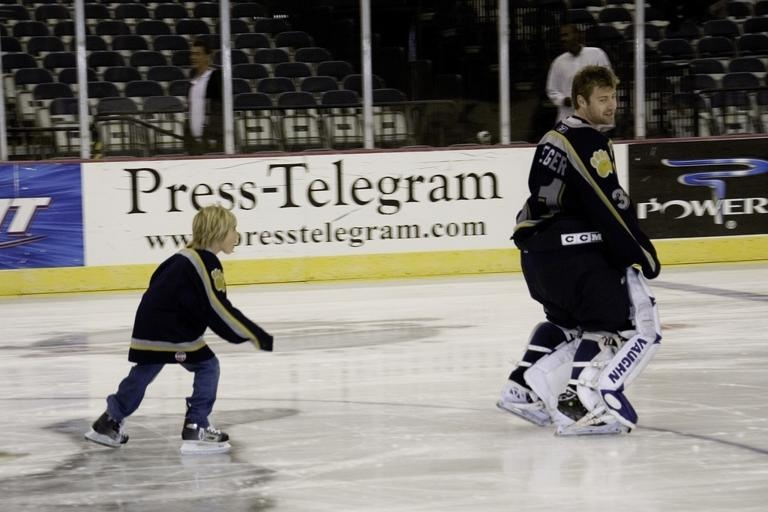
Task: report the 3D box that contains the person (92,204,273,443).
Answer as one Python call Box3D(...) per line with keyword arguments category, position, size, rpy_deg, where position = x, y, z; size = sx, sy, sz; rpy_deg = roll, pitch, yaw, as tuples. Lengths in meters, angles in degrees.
Box3D(category="person", position=(-1.374, 0.526, 8.021), size=(1.195, 1.745, 0.311), rpy_deg=(0, 7, 0))

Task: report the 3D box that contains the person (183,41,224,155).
Box3D(category="person", position=(-2.174, -1.932, 13.886), size=(0.446, 1.340, 0.327), rpy_deg=(-1, 7, -7))

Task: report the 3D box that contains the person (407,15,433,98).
Box3D(category="person", position=(0.440, -2.453, 14.199), size=(0.280, 0.999, 0.109), rpy_deg=(0, 7, 1))

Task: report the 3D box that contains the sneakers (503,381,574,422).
Box3D(category="sneakers", position=(1.033, 1.101, 8.463), size=(0.571, 0.190, 0.225), rpy_deg=(20, 3, -19))

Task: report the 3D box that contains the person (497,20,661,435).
Box3D(category="person", position=(1.436, -0.037, 8.240), size=(1.077, 2.672, 0.465), rpy_deg=(3, 8, 23))
